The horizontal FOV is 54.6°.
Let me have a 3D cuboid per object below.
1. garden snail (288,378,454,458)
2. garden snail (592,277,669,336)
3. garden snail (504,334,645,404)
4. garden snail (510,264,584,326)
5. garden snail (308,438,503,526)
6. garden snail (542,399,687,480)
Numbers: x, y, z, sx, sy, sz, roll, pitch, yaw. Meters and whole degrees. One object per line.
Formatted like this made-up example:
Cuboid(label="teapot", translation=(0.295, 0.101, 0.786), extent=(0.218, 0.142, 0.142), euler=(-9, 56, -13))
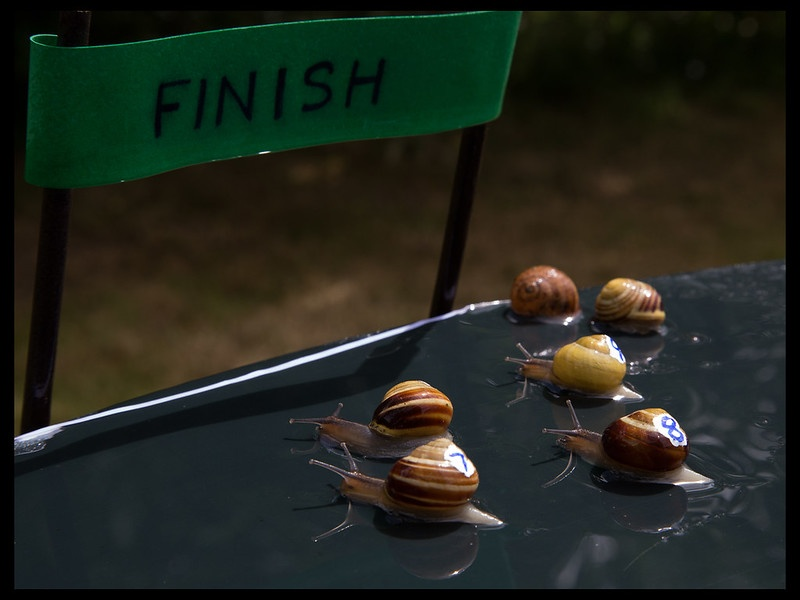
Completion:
Cuboid(label="garden snail", translation=(-0.032, 0.192, 1.273), extent=(0.267, 0.136, 0.140), euler=(2, -15, -19))
Cuboid(label="garden snail", translation=(0.488, 0.001, 1.678), extent=(0.158, 0.121, 0.118), euler=(4, 23, 13))
Cuboid(label="garden snail", translation=(0.331, 0.131, 1.452), extent=(0.214, 0.115, 0.108), euler=(6, 8, 20))
Cuboid(label="garden snail", translation=(0.318, -0.009, 1.749), extent=(0.173, 0.133, 0.175), euler=(9, 3, 19))
Cuboid(label="garden snail", translation=(0.020, 0.250, 1.129), extent=(0.273, 0.113, 0.120), euler=(9, 0, 7))
Cuboid(label="garden snail", translation=(0.348, 0.213, 1.225), extent=(0.210, 0.099, 0.123), euler=(2, 6, 33))
